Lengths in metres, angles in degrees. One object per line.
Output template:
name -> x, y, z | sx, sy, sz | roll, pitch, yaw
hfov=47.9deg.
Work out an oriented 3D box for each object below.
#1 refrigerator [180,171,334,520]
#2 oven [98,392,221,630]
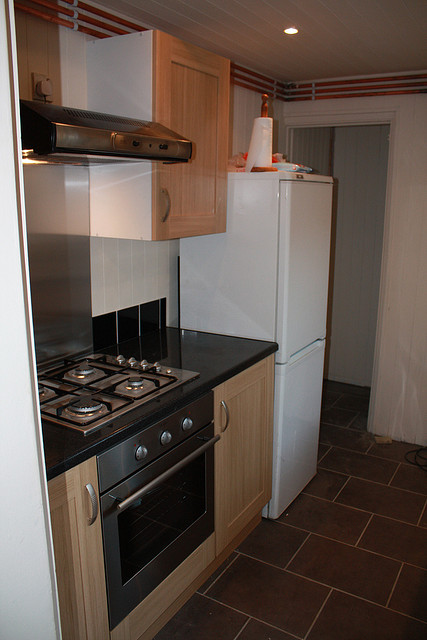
refrigerator -> 0.274, 0.090, 2.642 | 0.701, 1.695, 0.958 | 4, 15, 18
oven -> -0.282, 0.567, 1.626 | 0.380, 0.572, 0.571 | 5, 11, 36
